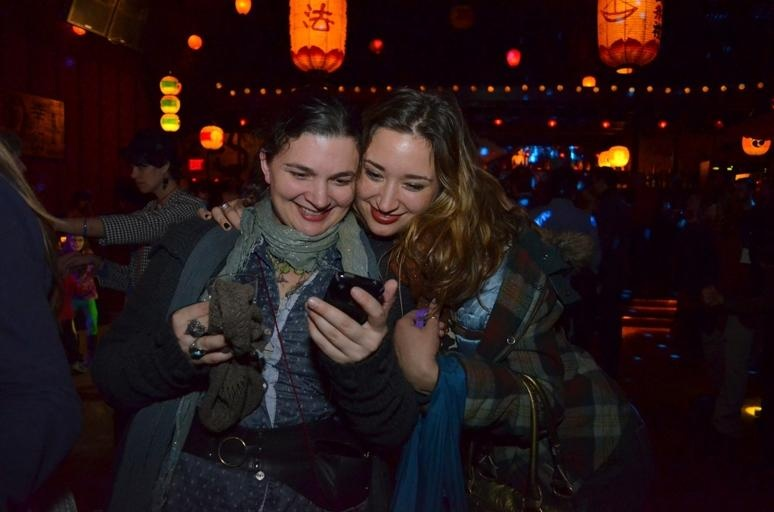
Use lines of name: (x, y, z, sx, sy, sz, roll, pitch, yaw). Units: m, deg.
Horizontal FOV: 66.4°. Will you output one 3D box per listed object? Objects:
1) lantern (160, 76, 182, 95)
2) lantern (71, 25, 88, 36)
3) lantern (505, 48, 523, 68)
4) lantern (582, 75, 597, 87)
lantern: (-4.587, -3.568, 12.545, 0.395, 0.382, 0.476, 11, 16, -4)
lantern: (-5.672, -4.126, 10.887, 0.155, 0.138, 0.412, 1, 15, 0)
lantern: (2.760, -4.292, 12.961, 0.365, 0.468, 0.380, 0, -4, 15)
lantern: (4.325, -3.736, 12.750, 0.240, 0.156, 0.249, 0, -8, 1)
